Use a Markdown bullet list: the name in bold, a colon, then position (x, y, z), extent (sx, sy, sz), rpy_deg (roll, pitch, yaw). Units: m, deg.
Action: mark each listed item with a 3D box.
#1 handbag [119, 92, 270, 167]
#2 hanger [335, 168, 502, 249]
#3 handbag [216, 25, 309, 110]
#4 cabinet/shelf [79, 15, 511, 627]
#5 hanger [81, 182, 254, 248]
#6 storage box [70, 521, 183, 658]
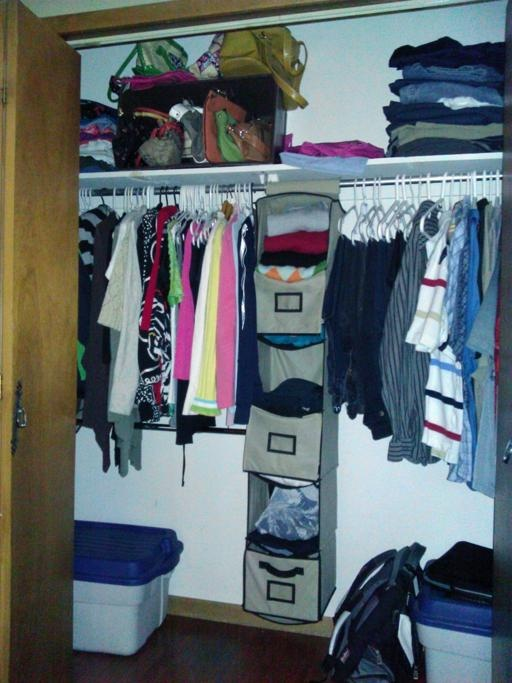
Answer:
- **handbag**: position (-0.228, -0.773, 2.768), extent (0.553, 0.279, 0.307), rpy_deg (0, 6, 1)
- **hanger**: position (0.563, -0.455, 2.681), extent (0.536, 0.226, 0.520), rpy_deg (1, 6, 8)
- **handbag**: position (0.057, -0.960, 2.733), extent (0.171, 0.285, 0.249), rpy_deg (-15, 16, -28)
- **cabinet/shelf**: position (0.164, -0.118, 2.624), extent (1.647, 2.093, 0.627), rpy_deg (-1, -4, 3)
- **hanger**: position (-0.347, -0.529, 2.984), extent (0.741, 0.131, 0.560), rpy_deg (0, 6, 1)
- **storage box**: position (-0.533, 0.929, 2.950), extent (0.394, 0.383, 0.504), rpy_deg (3, 5, 2)
